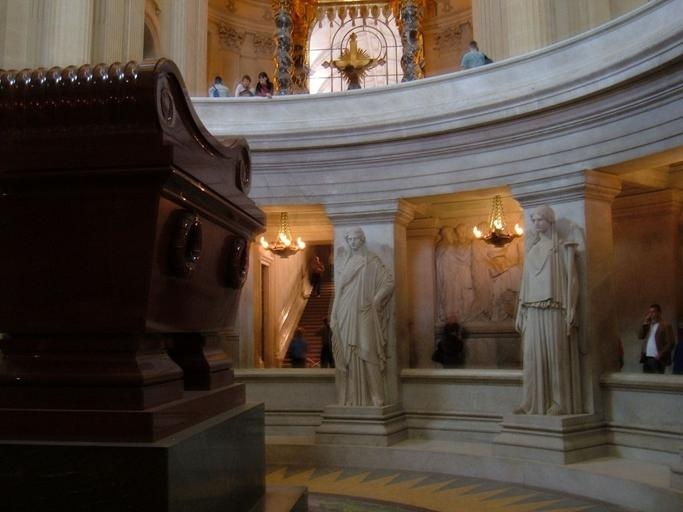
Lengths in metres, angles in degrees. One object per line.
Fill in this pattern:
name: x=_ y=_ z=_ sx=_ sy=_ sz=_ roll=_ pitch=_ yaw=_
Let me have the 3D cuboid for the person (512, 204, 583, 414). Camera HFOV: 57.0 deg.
person: x=2.393 y=0.597 z=7.254 sx=0.754 sy=2.399 sz=0.380 roll=-1 pitch=-8 yaw=23

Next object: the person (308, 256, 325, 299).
person: x=-0.873 y=0.576 z=20.576 sx=0.421 sy=1.409 sz=1.361 roll=2 pitch=-7 yaw=-4

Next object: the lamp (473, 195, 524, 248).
lamp: x=2.231 y=-0.546 z=9.009 sx=0.653 sy=0.827 sz=0.586 roll=6 pitch=-10 yaw=-42

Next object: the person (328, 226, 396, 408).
person: x=0.255 y=0.773 z=8.416 sx=0.801 sy=2.388 sz=0.572 roll=0 pitch=0 yaw=10

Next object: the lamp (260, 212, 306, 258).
lamp: x=-0.972 y=-0.391 z=10.711 sx=0.673 sy=0.753 sz=0.816 roll=0 pitch=0 yaw=14

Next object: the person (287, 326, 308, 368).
person: x=-0.847 y=1.704 z=11.972 sx=0.339 sy=0.755 sz=1.295 roll=2 pitch=-7 yaw=-4

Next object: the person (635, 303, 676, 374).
person: x=3.918 y=1.007 z=7.878 sx=0.355 sy=0.836 sz=0.609 roll=2 pitch=-7 yaw=-2
